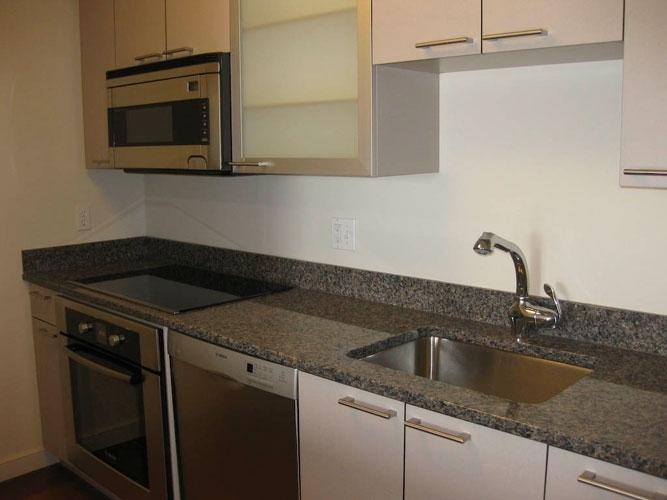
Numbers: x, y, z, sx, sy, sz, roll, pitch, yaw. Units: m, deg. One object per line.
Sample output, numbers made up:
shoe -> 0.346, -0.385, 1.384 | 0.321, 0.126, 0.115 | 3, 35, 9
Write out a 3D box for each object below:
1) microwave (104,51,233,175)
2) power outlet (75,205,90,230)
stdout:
microwave -> -0.724, -0.604, 2.726 | 0.666, 0.473, 0.407 | 2, 5, 25
power outlet -> -1.386, -0.172, 3.141 | 0.010, 0.126, 0.071 | 5, 8, 39
